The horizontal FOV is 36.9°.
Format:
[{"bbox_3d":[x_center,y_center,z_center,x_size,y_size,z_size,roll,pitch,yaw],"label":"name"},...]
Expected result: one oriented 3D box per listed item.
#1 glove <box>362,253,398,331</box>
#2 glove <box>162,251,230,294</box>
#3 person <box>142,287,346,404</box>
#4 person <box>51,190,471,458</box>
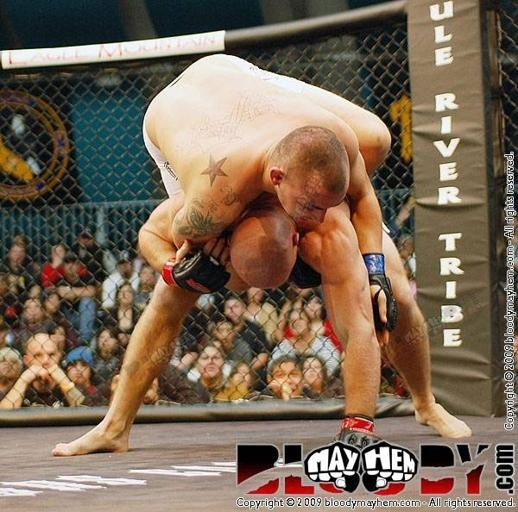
[{"bbox_3d":[0.404,0.130,2.637,0.176,0.109,0.232,-9,87,3],"label":"glove"},{"bbox_3d":[-0.235,0.052,2.647,0.211,0.139,0.083,-7,51,34],"label":"glove"},{"bbox_3d":[0.031,0.445,4.498,0.740,0.890,0.290,1,96,11],"label":"person"},{"bbox_3d":[0.049,0.155,2.806,1.525,0.694,0.969,-2,85,5],"label":"person"}]
